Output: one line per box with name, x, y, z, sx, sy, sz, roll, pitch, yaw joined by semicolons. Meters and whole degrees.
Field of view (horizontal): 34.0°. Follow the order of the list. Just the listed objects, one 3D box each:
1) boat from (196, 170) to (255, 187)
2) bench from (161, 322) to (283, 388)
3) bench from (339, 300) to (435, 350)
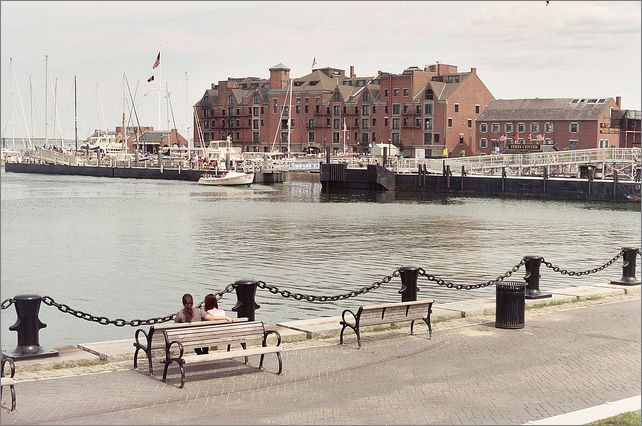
boat;-10.376;-3.785;116.847;6.926;1.570;2.251;-4;0;43
bench;-3.117;4.126;32.076;3.572;1.670;1.680;-3;5;-17
bench;2.208;3.486;34.550;3.228;1.293;1.217;-2;6;-38
